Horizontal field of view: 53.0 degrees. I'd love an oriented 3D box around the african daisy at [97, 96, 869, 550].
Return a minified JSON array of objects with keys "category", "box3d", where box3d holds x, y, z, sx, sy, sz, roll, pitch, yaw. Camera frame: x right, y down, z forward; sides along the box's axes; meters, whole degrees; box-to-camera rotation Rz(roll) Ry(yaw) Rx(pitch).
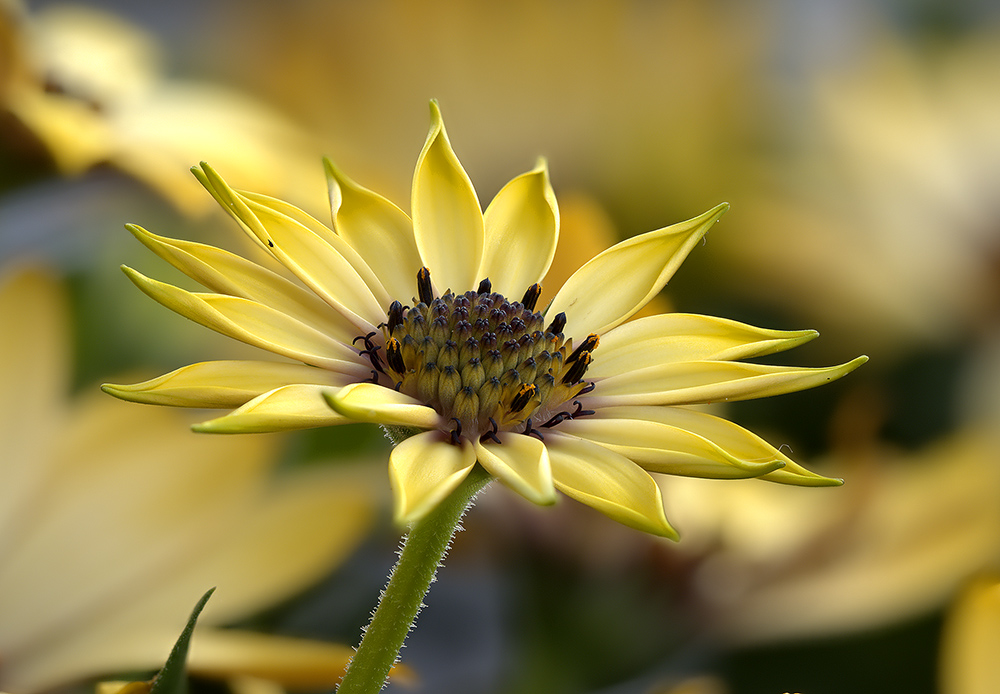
[{"category":"african daisy","box3d":[-0.033,-0.018,1.013,0.530,0.145,0.574,35,37,7]}]
